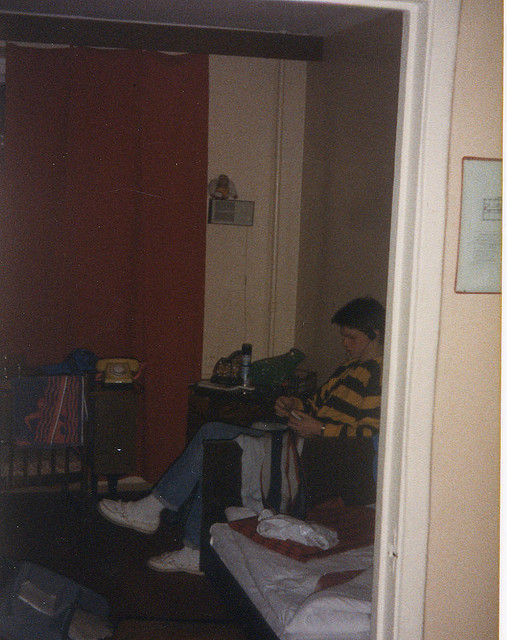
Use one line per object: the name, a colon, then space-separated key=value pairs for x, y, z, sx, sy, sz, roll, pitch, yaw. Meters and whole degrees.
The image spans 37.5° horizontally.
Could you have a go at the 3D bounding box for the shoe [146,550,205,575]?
shoe: x=-0.352 y=1.058 z=3.298 sx=0.265 sy=0.107 sz=0.099 roll=9 pitch=-1 yaw=6

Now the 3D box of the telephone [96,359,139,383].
telephone: x=-0.775 y=0.285 z=4.206 sx=0.198 sy=0.121 sz=0.127 roll=3 pitch=-12 yaw=-17
